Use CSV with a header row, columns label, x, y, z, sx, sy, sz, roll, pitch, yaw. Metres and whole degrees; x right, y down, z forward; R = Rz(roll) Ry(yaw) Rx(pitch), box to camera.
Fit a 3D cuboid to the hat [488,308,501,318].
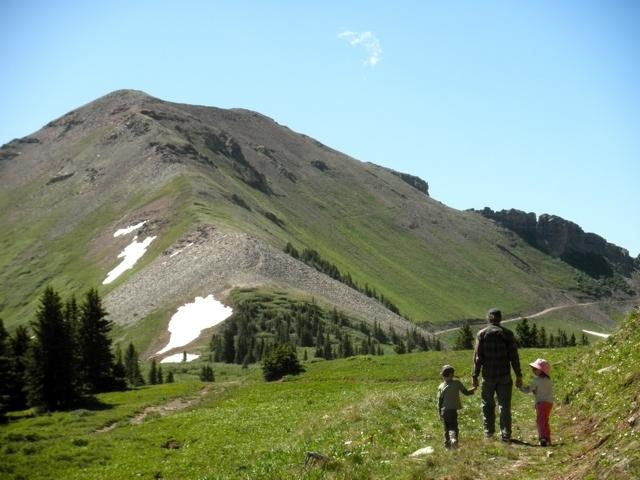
label,x,y,z,sx,sy,sz,roll,pitch,yaw
hat,13.131,5.444,45.313,0.828,0.426,0.759,0,2,11
